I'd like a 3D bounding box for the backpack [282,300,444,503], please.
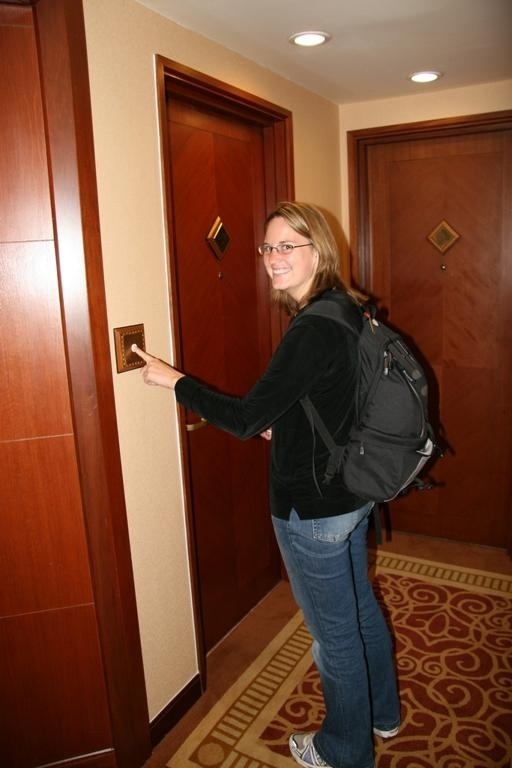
[{"bbox_3d":[0.281,0.005,1.509,0.383,0.616,0.386,0,8,9],"label":"backpack"}]
